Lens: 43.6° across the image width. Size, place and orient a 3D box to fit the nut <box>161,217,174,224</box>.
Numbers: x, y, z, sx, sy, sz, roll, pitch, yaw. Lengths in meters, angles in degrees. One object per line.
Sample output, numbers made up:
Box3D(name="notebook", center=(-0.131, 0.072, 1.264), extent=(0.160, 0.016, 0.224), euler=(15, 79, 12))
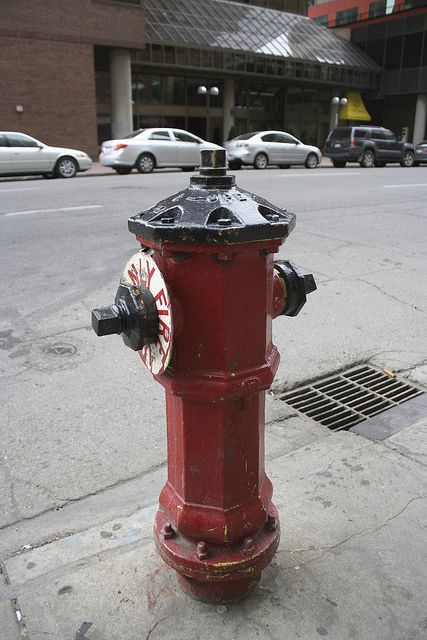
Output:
Box3D(name="nut", center=(-0.107, -0.241, 1.288), extent=(0.026, 0.008, 0.029), euler=(-7, 18, -20))

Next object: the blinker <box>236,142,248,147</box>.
Box3D(name="blinker", center=(1.033, -6.184, 18.855), extent=(0.192, 0.090, 0.287), euler=(2, 10, 8))

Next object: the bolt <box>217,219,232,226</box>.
Box3D(name="bolt", center=(0.029, -0.225, 1.236), extent=(0.038, 0.012, 0.027), euler=(-8, 15, -22))

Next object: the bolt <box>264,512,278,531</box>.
Box3D(name="bolt", center=(0.182, 0.628, 1.665), extent=(0.052, 0.067, 0.048), euler=(0, 0, 21))

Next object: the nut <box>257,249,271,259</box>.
Box3D(name="nut", center=(0.128, -0.169, 1.358), extent=(0.027, 0.026, 0.022), euler=(-1, 4, -21))

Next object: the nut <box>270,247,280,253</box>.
Box3D(name="nut", center=(0.165, -0.182, 1.394), extent=(0.014, 0.015, 0.019), euler=(-1, 2, -2))

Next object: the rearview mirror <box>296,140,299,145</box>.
Box3D(name="rearview mirror", center=(3.202, -6.735, 20.336), extent=(0.047, 0.094, 0.308), euler=(2, 15, 18))

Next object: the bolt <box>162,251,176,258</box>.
Box3D(name="bolt", center=(-0.108, -0.158, 1.290), extent=(0.034, 0.017, 0.020), euler=(0, 14, 8))

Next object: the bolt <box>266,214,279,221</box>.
Box3D(name="bolt", center=(0.152, -0.261, 1.368), extent=(0.032, 0.011, 0.055), euler=(-1, 14, 6))

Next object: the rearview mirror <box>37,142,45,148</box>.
Box3D(name="rearview mirror", center=(-4.834, -4.901, 14.967), extent=(0.150, 0.129, 0.257), euler=(21, 22, 0))

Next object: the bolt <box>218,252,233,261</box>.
Box3D(name="bolt", center=(0.027, -0.150, 1.259), extent=(0.019, 0.021, 0.037), euler=(-4, 4, 16))

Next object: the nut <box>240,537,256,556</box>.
Box3D(name="nut", center=(0.098, 0.643, 1.532), extent=(0.037, 0.045, 0.039), euler=(2, -3, -11))

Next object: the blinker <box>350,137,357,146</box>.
Box3D(name="blinker", center=(5.339, -6.811, 20.435), extent=(0.220, 0.304, 0.109), euler=(-2, 13, 2))

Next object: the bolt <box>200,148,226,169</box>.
Box3D(name="bolt", center=(-0.007, -0.435, 1.458), extent=(0.056, 0.046, 0.059), euler=(0, 12, 2))

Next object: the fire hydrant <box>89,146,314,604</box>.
Box3D(name="fire hydrant", center=(0.002, 0.187, 1.576), extent=(0.689, 1.308, 0.432), euler=(-9, 18, -25))

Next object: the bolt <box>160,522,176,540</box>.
Box3D(name="bolt", center=(-0.137, 0.629, 1.598), extent=(0.035, 0.030, 0.034), euler=(-1, -3, 1))

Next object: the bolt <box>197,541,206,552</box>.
Box3D(name="bolt", center=(-0.033, 0.634, 1.500), extent=(0.020, 0.021, 0.019), euler=(0, 9, 11))

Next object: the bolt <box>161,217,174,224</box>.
Box3D(name="bolt", center=(-0.107, -0.242, 1.289), extent=(0.026, 0.008, 0.029), euler=(-7, 18, -20))

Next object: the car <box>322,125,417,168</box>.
Box3D(name="car", center=(6.958, -7.204, 22.394), extent=(5.178, 1.565, 1.676), euler=(-12, 17, -34))

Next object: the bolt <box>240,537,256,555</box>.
Box3D(name="bolt", center=(0.100, 0.643, 1.530), extent=(0.035, 0.044, 0.039), euler=(-1, -2, 0))

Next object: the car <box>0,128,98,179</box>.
Box3D(name="car", center=(-4.845, -4.672, 15.168), extent=(2.909, 1.070, 1.184), euler=(-10, 17, -26))
